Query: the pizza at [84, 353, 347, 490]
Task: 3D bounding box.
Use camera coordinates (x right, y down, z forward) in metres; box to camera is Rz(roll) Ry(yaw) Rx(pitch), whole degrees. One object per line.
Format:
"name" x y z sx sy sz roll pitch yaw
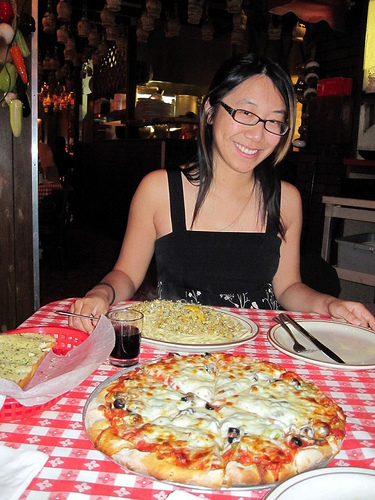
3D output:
"pizza" 0.034 0.256 0.706 0.382 0.041 0.364 3 12 -4

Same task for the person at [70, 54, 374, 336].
"person" 0.125 -0.249 1.782 0.827 1.022 0.464 1 9 1

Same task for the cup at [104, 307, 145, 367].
"cup" -0.116 0.207 0.964 0.113 0.110 0.107 1 -7 0

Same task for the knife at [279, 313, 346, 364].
"knife" 0.333 0.228 1.116 0.033 0.014 0.266 -3 18 -13
